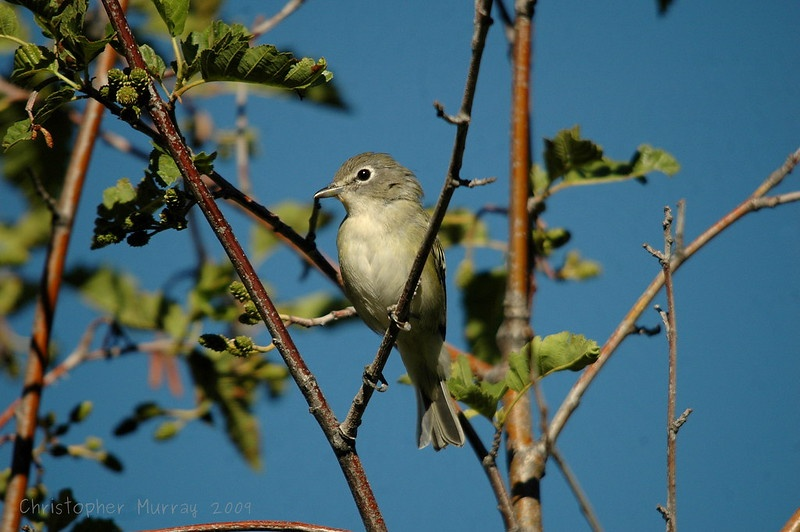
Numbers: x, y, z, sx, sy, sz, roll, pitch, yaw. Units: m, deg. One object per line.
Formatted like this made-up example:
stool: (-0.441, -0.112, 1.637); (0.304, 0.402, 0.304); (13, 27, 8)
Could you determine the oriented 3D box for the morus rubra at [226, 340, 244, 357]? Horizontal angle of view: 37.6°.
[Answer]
morus rubra: (-0.877, 0.429, 6.273); (0.073, 0.039, 0.095); (-14, -70, 17)
